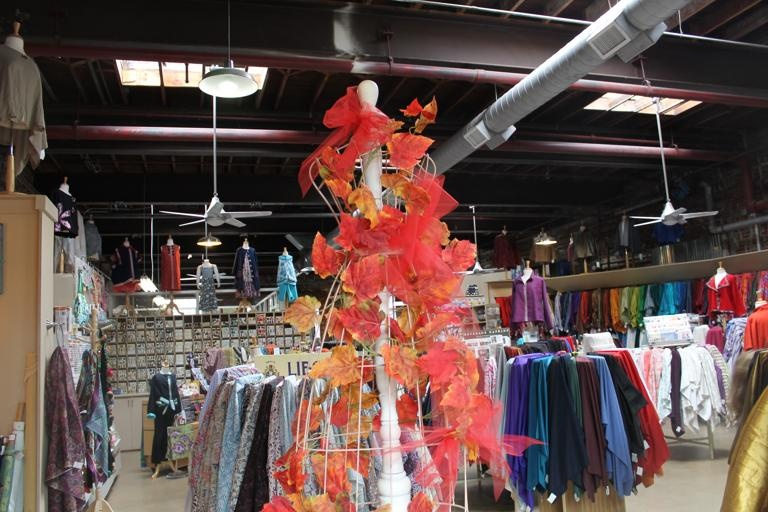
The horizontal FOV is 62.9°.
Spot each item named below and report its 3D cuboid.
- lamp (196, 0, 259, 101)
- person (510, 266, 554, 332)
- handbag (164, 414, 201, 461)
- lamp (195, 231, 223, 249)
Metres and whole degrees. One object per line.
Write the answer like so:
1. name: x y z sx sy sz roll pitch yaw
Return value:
1. lamp: -1.651 -2.181 6.552 0.560 1.040 0.502 -6 -6 37
2. person: 2.423 0.731 10.472 0.690 1.068 0.810 -4 -5 12
3. handbag: -3.084 2.852 9.645 0.315 0.574 0.525 -4 -5 18
4. lamp: -3.625 -0.340 12.892 0.355 0.220 0.358 -2 -3 -7
